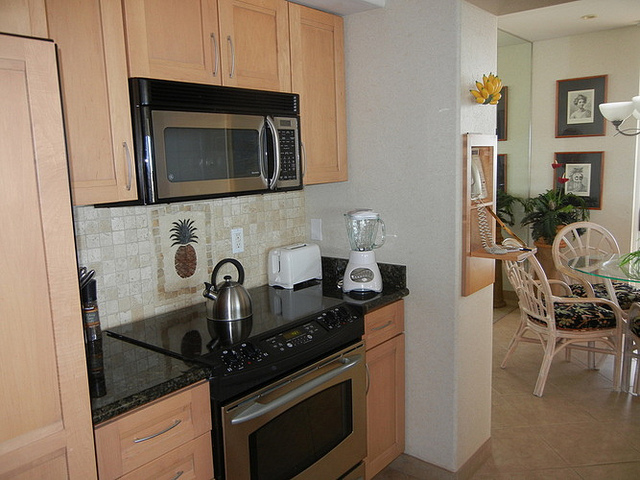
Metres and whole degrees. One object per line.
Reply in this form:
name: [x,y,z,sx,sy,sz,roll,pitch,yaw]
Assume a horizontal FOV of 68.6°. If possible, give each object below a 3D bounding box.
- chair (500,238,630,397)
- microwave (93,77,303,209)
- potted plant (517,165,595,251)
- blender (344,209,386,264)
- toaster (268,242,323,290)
chair: [1.963,0.586,3.789,0.726,1.049,0.702,-1,4,14]
microwave: [-0.531,-0.450,2.298,0.461,0.481,0.938,4,11,39]
potted plant: [2.590,-0.267,5.197,0.784,0.905,0.730,16,-2,-31]
blender: [0.259,-0.033,2.653,0.220,0.285,0.260,-1,11,8]
toaster: [-0.151,0.149,2.873,0.184,0.222,0.337,7,12,36]
